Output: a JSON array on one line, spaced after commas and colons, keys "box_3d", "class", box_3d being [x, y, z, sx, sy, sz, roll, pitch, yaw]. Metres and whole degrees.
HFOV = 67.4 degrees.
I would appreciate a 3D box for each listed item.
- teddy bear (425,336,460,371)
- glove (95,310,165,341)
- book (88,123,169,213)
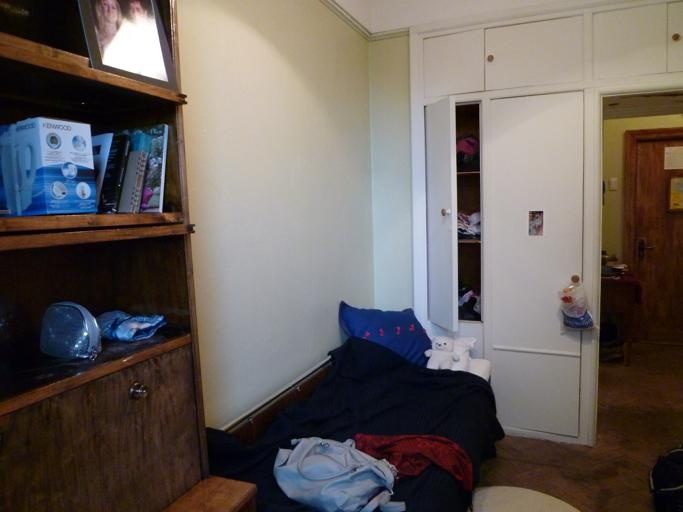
[{"box_3d": [0.637, 0.626, 3.271, 0.214, 0.161, 0.253, 2, 41, 19], "class": "teddy bear"}, {"box_3d": [-0.702, 0.212, 1.693, 0.158, 0.055, 0.102, 5, 25, 13], "class": "glove"}, {"box_3d": [-0.694, -0.277, 1.637, 0.251, 0.298, 0.067, -6, -3, -9], "class": "book"}]
